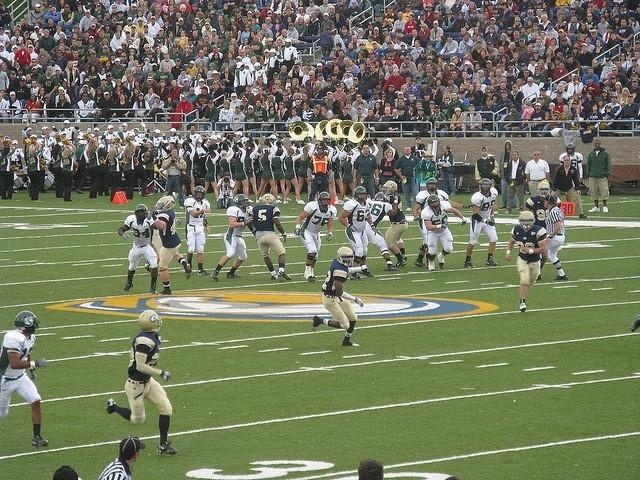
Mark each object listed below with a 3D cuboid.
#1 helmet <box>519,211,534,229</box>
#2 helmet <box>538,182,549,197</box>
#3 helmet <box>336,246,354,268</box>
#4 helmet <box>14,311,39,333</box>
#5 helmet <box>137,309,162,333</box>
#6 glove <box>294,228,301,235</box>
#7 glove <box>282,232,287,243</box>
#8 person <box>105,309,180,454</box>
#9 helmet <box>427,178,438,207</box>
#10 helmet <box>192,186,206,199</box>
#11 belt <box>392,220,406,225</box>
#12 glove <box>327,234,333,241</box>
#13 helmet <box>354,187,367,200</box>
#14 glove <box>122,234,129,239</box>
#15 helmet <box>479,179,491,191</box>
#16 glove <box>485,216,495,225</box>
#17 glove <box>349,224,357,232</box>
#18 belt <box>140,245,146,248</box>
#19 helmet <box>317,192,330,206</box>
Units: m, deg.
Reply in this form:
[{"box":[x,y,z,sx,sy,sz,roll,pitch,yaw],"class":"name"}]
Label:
[{"box":[3.691,-0.372,16.540,0.217,0.247,0.286,0,-2,8],"class":"helmet"},{"box":[4.548,-1.042,18.814,0.212,0.286,0.359,2,9,15],"class":"helmet"},{"box":[0.399,0.226,13.696,0.235,0.266,0.269,2,1,-32],"class":"helmet"},{"box":[-3.269,0.880,10.277,0.284,0.273,0.219,-2,6,-20],"class":"helmet"},{"box":[-1.894,0.921,10.270,0.214,0.314,0.453,-2,9,-9],"class":"helmet"},{"box":[-0.472,-0.184,19.570,0.085,0.119,0.112,8,-4,-30],"class":"glove"},{"box":[-0.731,-0.067,19.318,0.073,0.195,0.128,-3,3,-10],"class":"glove"},{"box":[-1.922,1.497,10.128,0.735,1.600,0.780,-2,5,-20],"class":"person"},{"box":[2.454,-1.192,20.374,0.337,0.492,0.473,0,1,-2],"class":"helmet"},{"box":[-2.597,-1.055,19.828,0.228,0.296,0.283,0,-8,-16],"class":"helmet"},{"box":[1.682,-0.407,19.980,0.262,0.096,0.076,1,9,13],"class":"belt"},{"box":[0.233,-0.081,19.615,0.124,0.096,0.167,5,1,-8],"class":"glove"},{"box":[0.811,-0.995,19.240,0.215,0.243,0.256,-3,5,-41],"class":"helmet"},{"box":[-3.994,-0.093,18.935,0.113,0.060,0.152,10,5,-33],"class":"glove"},{"box":[3.592,-1.214,20.160,0.203,0.239,0.265,2,-2,3],"class":"helmet"},{"box":[3.706,-0.438,20.319,0.147,0.172,0.419,2,5,11],"class":"glove"},{"box":[0.677,-0.265,19.331,0.170,0.162,0.053,0,9,1],"class":"glove"},{"box":[-3.355,0.103,17.468,0.129,0.055,0.040,-3,9,-14],"class":"belt"},{"box":[0.066,-0.867,19.013,0.235,0.297,0.638,-1,9,0],"class":"helmet"}]
